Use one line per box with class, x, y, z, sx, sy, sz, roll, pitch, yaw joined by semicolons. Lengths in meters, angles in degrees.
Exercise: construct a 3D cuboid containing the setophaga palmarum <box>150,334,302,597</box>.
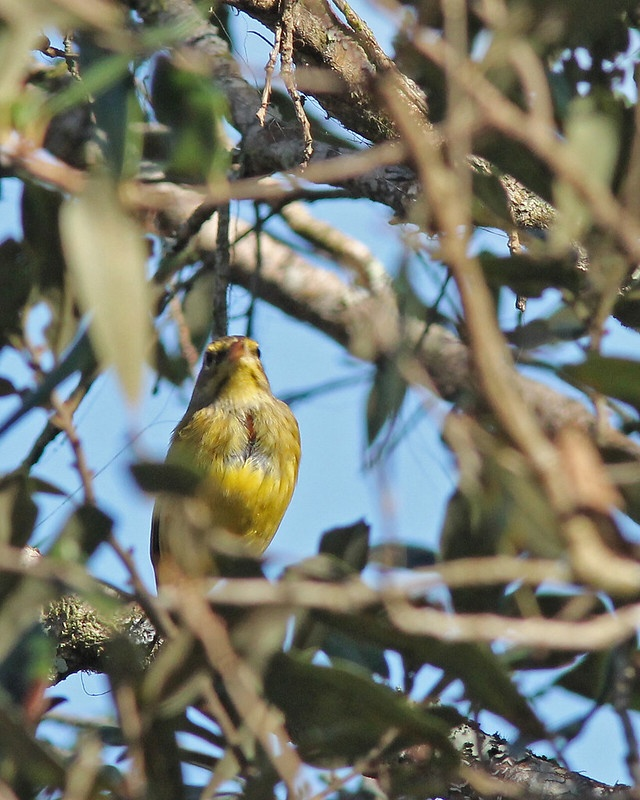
setophaga palmarum;-0.262;0.146;4.953;0.352;0.659;1.082;9;-40;-3
